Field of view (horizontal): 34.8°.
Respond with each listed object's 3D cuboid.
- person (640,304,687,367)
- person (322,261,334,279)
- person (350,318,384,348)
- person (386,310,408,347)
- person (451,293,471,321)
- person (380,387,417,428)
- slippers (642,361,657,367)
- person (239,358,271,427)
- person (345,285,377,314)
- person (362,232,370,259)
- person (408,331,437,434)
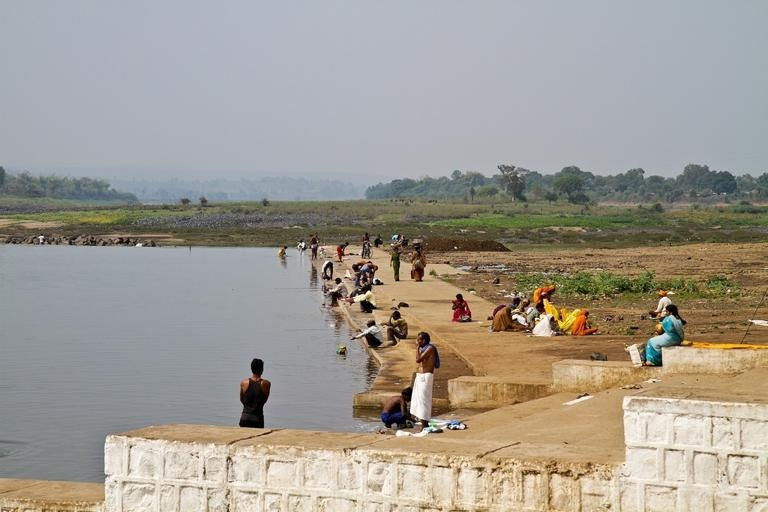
[{"bbox_3d":[5.852,1.704,25.530,0.789,1.062,1.171,1,3,11],"label":"person"},{"bbox_3d":[-2.126,0.553,47.233,0.368,0.804,0.243,1,14,-11],"label":"person"},{"bbox_3d":[-0.387,2.023,31.796,0.686,0.660,0.863,1,4,27],"label":"person"},{"bbox_3d":[0.337,1.836,31.979,0.537,0.858,0.738,1,3,11],"label":"person"},{"bbox_3d":[2.181,1.430,34.483,0.796,0.877,0.691,-2,-1,-5],"label":"person"},{"bbox_3d":[0.398,3.075,24.990,0.834,0.862,0.669,1,7,-2],"label":"person"},{"bbox_3d":[5.506,2.218,25.290,0.174,0.053,0.107,7,7,35],"label":"slippers"},{"bbox_3d":[-2.526,2.675,23.887,0.574,1.308,1.493,0,3,-6],"label":"person"},{"bbox_3d":[-0.767,1.380,38.287,1.054,0.939,0.622,1,-3,2],"label":"person"},{"bbox_3d":[-0.826,-0.529,58.765,0.621,0.752,1.273,0,36,-1],"label":"person"},{"bbox_3d":[0.821,2.497,24.529,0.535,1.740,1.122,1,3,1],"label":"person"}]
